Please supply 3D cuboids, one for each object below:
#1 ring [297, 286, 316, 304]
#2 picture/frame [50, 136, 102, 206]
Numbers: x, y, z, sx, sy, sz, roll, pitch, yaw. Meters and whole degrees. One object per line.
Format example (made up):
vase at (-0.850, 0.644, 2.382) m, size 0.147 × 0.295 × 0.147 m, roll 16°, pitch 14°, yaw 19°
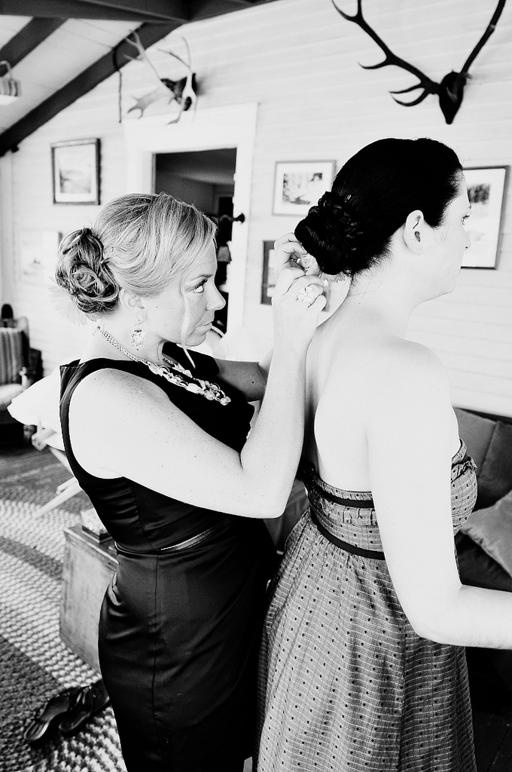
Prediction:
ring at (0.079, -0.140, 1.049) m, size 0.027 × 0.028 × 0.008 m, roll 29°, pitch 6°, yaw 7°
picture/frame at (-1.362, -1.656, 5.179) m, size 0.546 × 0.469 × 0.052 m, roll 18°, pitch 22°, yaw 41°
